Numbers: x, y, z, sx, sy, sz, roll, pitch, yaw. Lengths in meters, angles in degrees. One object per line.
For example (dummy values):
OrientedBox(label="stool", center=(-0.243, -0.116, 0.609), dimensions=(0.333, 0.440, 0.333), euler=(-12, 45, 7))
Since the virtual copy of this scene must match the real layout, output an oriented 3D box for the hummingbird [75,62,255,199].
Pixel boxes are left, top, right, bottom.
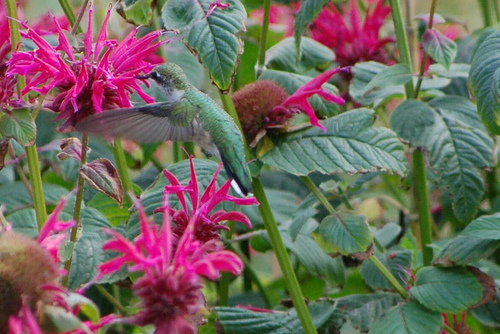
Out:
OrientedBox(label="hummingbird", center=(-0.117, 0.003, 0.934), dimensions=(0.174, 0.099, 0.233), euler=(19, 5, 28))
